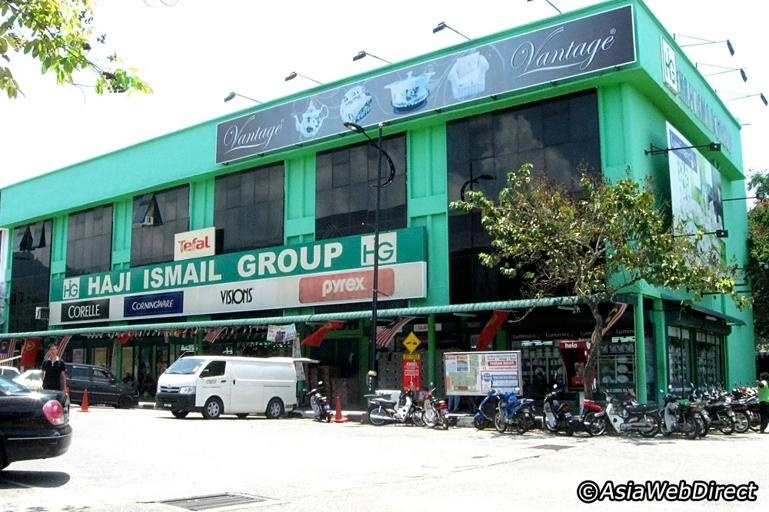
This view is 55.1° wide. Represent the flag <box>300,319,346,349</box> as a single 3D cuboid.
[{"bbox_3d":[-2.834,3.468,33.826,1.183,1.223,1.666,-10,-19,34],"label":"flag"}]

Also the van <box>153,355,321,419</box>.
[{"bbox_3d":[-6.394,5.350,30.556,4.652,2.078,2.829,14,-21,-38],"label":"van"}]

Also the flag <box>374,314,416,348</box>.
[{"bbox_3d":[0.191,3.317,32.767,0.813,1.174,2.081,11,-19,-36],"label":"flag"}]

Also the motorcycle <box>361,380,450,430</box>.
[{"bbox_3d":[0.936,5.835,28.858,3.113,2.059,0.897,-1,-6,7],"label":"motorcycle"}]
